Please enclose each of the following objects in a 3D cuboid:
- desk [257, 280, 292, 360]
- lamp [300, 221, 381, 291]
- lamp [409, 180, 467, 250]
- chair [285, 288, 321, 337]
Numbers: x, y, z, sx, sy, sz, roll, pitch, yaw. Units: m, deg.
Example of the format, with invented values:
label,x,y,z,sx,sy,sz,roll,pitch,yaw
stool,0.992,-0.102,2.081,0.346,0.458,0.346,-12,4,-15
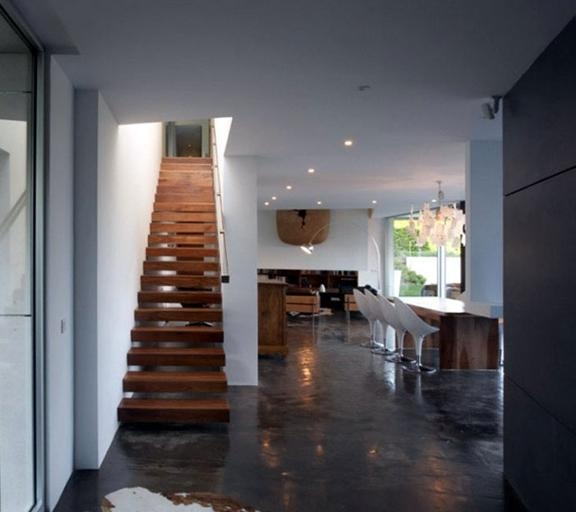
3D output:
label,x,y,z,sx,sy,sz,roll,pitch,yaw
desk,-0.227,0.995,7.143,0.398,1.105,1.107,-1,-3,-3
lamp,1.515,-0.164,14.213,2.531,2.681,1.407,0,-2,4
lamp,2.870,-0.718,9.331,0.851,1.084,3.570,1,2,16
chair,0.476,1.370,12.073,0.679,0.835,1.141,17,-13,-39
